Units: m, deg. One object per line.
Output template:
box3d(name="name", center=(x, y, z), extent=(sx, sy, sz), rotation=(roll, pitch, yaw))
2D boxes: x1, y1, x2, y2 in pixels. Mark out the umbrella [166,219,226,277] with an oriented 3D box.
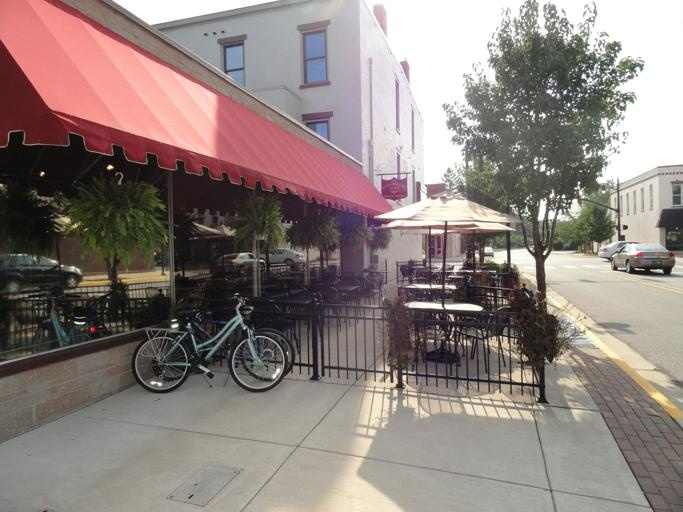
box3d(name="umbrella", center=(-3.763, -0.264, 13.971), extent=(1.115, 0.595, 1.217), rotation=(-11, 11, -23))
